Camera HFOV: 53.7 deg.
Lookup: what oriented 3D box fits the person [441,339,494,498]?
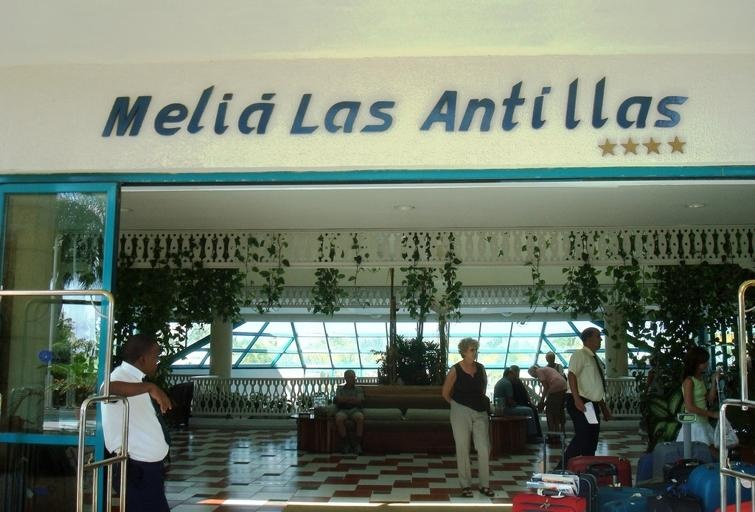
[{"bbox_3d":[1.080,1.897,8.833,0.544,1.814,0.774,-2,-12,8],"label":"person"}]

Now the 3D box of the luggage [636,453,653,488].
[{"bbox_3d":[2.872,2.287,7.999,0.195,0.300,0.202,17,-23,-8],"label":"luggage"}]

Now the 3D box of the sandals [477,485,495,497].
[{"bbox_3d":[1.285,2.751,8.740,0.079,0.083,0.209,6,-15,-19],"label":"sandals"}]

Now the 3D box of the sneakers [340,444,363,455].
[{"bbox_3d":[-0.387,2.983,11.493,0.342,0.215,0.119,6,-15,1],"label":"sneakers"}]

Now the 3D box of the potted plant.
[{"bbox_3d":[0.686,1.888,14.045,1.110,0.736,0.930,2,-17,-3],"label":"potted plant"}]

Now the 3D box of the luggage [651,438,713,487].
[{"bbox_3d":[3.122,2.256,7.789,0.706,0.604,0.374,4,-6,-23],"label":"luggage"}]
